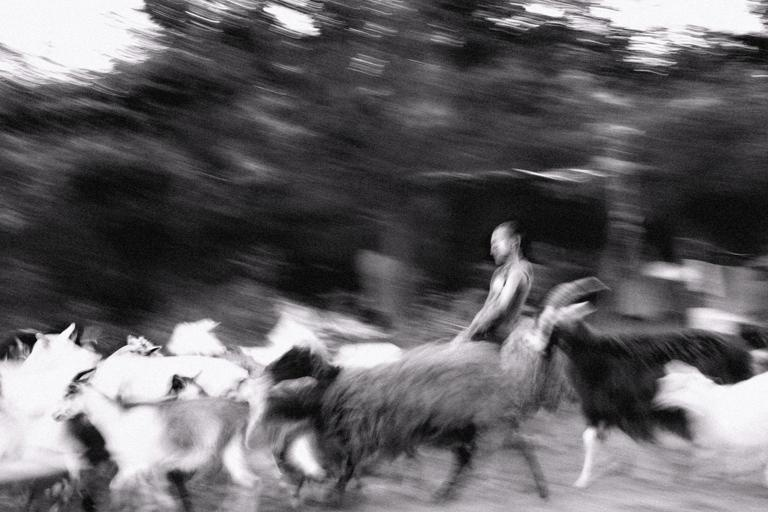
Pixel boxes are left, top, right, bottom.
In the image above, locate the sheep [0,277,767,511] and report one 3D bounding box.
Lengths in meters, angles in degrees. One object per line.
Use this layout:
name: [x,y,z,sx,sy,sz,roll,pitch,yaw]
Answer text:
sheep: [-0.343,0.855,5.653,3.297,1.235,0.585,7,-6,10]
